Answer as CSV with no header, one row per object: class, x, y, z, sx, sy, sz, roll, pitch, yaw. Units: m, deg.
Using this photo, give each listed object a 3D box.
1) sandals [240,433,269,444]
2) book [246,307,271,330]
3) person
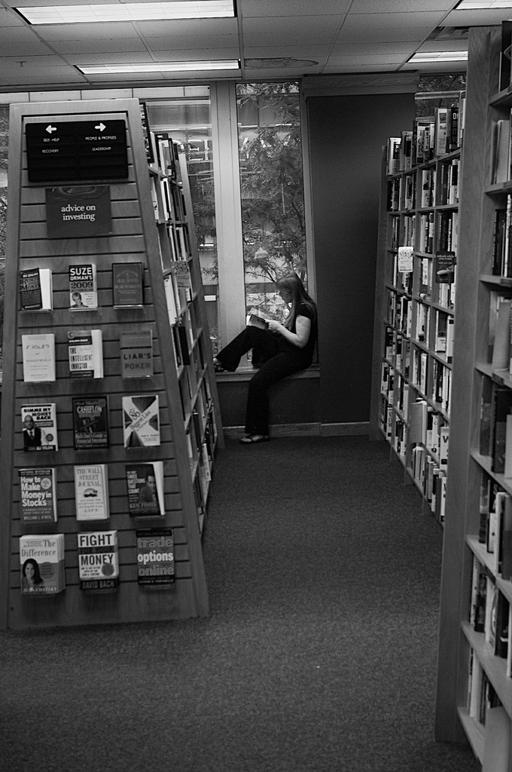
sandals,-0.013,0.556,5.829,0.224,0.117,0.116,3,0,-3
book,0.002,-0.747,6.006,0.219,0.077,0.217,16,5,-45
person,0.136,-0.262,5.878,1.031,1.696,0.358,-2,0,8
